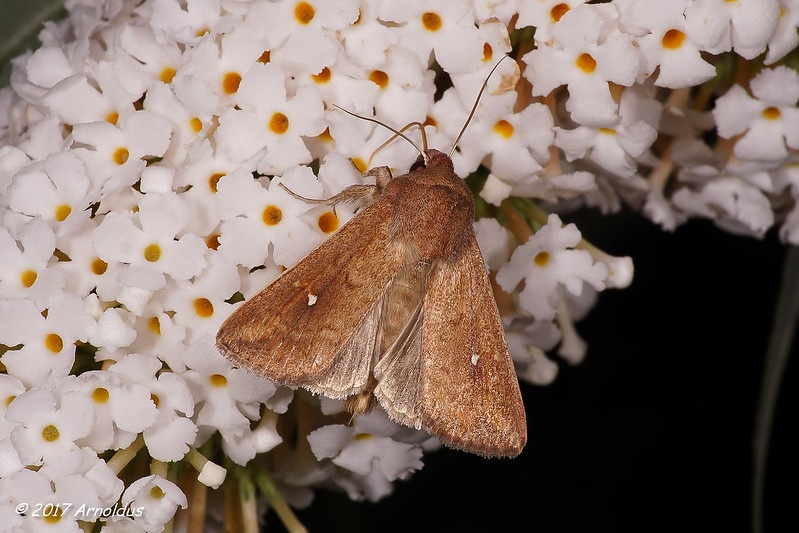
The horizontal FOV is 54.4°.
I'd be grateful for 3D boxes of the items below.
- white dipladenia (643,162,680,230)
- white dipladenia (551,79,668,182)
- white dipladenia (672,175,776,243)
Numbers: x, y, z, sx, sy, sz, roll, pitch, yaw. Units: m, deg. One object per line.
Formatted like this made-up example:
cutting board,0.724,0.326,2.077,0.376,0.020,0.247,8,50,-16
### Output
white dipladenia,0.546,-0.146,1.626,0.074,0.035,0.141,0,59,12
white dipladenia,0.396,-0.244,1.418,0.171,0.182,0.069,17,17,-3
white dipladenia,0.637,-0.119,1.525,0.158,0.111,0.047,32,41,23
